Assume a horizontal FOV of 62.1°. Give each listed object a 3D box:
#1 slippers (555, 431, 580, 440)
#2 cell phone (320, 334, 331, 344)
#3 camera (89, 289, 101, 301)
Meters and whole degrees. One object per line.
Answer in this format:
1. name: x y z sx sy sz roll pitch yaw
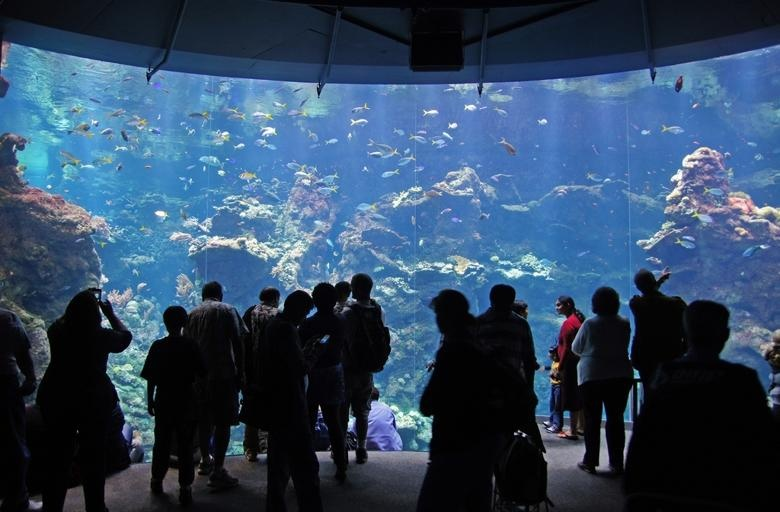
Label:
1. slippers: 3.579 3.585 12.940 0.185 0.118 0.327 5 -7 -20
2. cell phone: -1.081 1.383 10.802 0.088 0.154 0.041 35 -4 15
3. camera: -4.826 0.621 10.667 0.159 0.198 0.316 3 -9 -11
